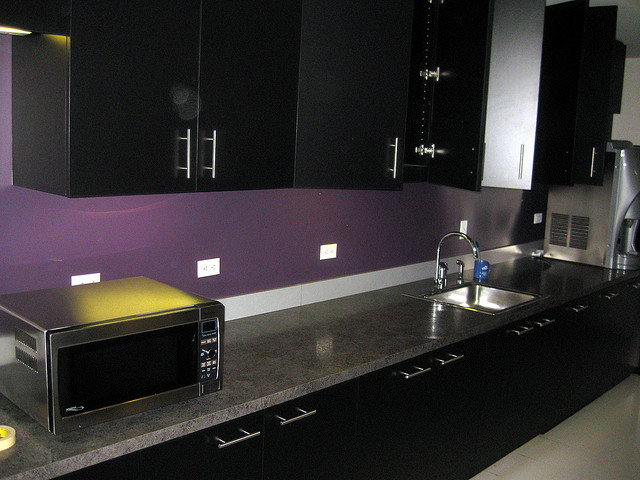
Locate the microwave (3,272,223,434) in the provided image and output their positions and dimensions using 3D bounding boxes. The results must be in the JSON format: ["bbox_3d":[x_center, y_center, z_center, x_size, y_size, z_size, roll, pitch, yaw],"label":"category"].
[{"bbox_3d":[-0.739,0.281,1.726,0.476,0.271,0.478,-7,13,-43],"label":"microwave"}]

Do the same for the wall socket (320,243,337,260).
[{"bbox_3d":[0.048,0.066,2.986,0.087,0.055,0.008,-11,18,-40],"label":"wall socket"}]

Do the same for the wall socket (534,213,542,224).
[{"bbox_3d":[1.955,-0.196,4.629,0.087,0.083,0.040,-8,10,-39],"label":"wall socket"}]

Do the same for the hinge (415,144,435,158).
[{"bbox_3d":[0.597,-0.512,2.930,0.101,0.062,0.027,2,7,-3],"label":"hinge"}]

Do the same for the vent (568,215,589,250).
[{"bbox_3d":[2.281,-0.053,4.514,0.074,0.310,0.333,8,9,33],"label":"vent"}]
